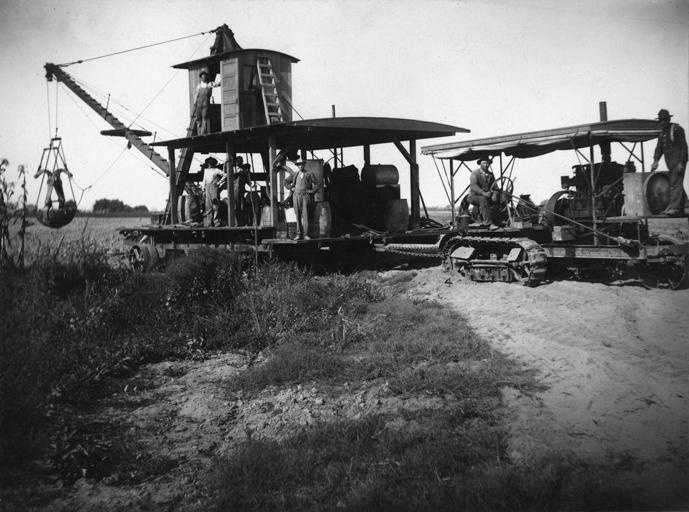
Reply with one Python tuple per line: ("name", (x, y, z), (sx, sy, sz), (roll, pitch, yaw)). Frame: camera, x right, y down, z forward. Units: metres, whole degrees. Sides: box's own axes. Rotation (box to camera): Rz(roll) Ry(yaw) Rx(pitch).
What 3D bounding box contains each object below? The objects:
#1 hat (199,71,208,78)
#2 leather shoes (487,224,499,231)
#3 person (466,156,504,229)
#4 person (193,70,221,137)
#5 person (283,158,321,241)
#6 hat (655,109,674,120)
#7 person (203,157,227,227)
("hat", (-4.391, -5.640, 20.293), (0.256, 0.240, 0.530), (-4, 14, -13))
("leather shoes", (3.739, -0.715, 16.246), (0.124, 0.121, 0.246), (-5, -3, -13))
("person", (3.544, -1.634, 16.464), (0.760, 1.713, 0.693), (2, 12, 14))
("person", (-4.405, -4.852, 20.516), (0.773, 2.018, 1.382), (-4, 13, -15))
("person", (-1.085, -1.539, 17.625), (0.930, 2.157, 1.040), (-4, 12, -12))
("hat", (6.725, -2.935, 13.582), (0.217, 0.248, 0.841), (4, 16, 23))
("person", (-3.951, -1.938, 19.695), (0.607, 2.048, 1.164), (-4, 12, -13))
